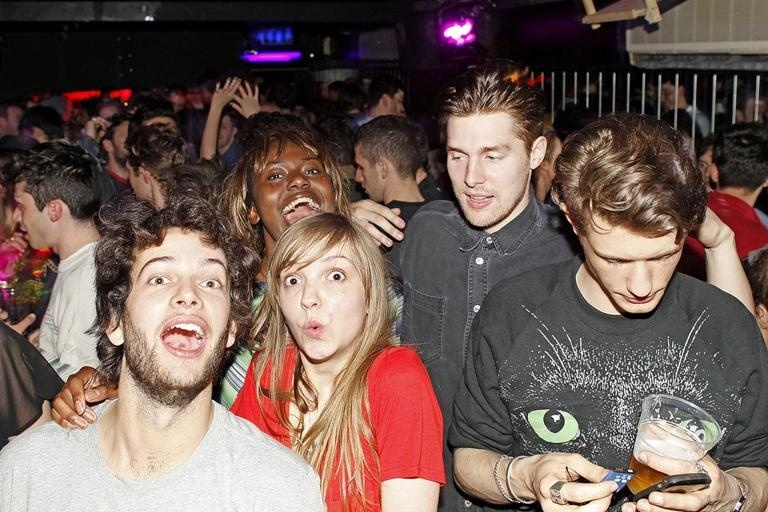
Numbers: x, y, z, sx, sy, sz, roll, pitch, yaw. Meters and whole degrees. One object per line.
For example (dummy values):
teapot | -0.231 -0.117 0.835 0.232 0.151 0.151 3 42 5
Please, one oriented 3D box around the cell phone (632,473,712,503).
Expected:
cell phone | 1.011 0.806 2.058 0.172 0.049 0.300 4 -34 -21
